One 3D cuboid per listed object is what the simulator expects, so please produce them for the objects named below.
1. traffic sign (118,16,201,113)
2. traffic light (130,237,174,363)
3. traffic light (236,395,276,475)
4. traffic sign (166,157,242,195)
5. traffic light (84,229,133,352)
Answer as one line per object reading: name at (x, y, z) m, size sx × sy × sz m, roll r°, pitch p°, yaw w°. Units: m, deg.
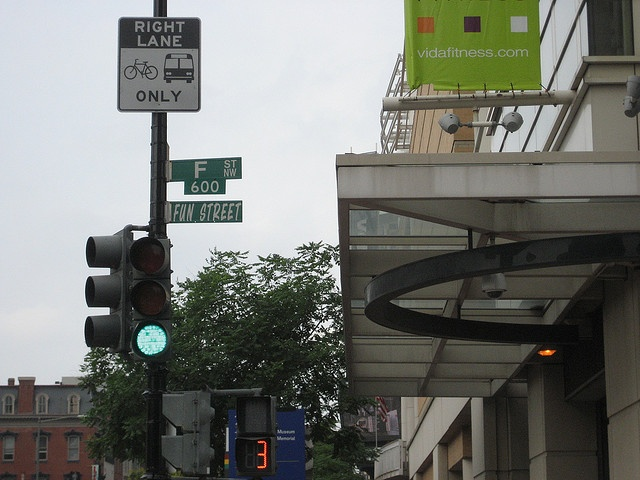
traffic sign at (-2.929, -3.243, 28.170) m, size 1.508 × 1.850 × 0.188 m, roll -2°, pitch 30°, yaw -10°
traffic light at (-2.978, 0.992, 27.172) m, size 0.751 × 2.167 × 0.522 m, roll 2°, pitch -12°, yaw -4°
traffic light at (-1.138, 3.508, 27.801) m, size 0.719 × 1.447 × 0.338 m, roll 1°, pitch -12°, yaw -3°
traffic sign at (-2.127, -1.221, 29.009) m, size 1.291 × 0.733 × 0.215 m, roll 4°, pitch -12°, yaw -15°
traffic light at (-3.619, 0.922, 27.300) m, size 0.879 × 2.272 × 0.772 m, roll -2°, pitch 6°, yaw -34°
